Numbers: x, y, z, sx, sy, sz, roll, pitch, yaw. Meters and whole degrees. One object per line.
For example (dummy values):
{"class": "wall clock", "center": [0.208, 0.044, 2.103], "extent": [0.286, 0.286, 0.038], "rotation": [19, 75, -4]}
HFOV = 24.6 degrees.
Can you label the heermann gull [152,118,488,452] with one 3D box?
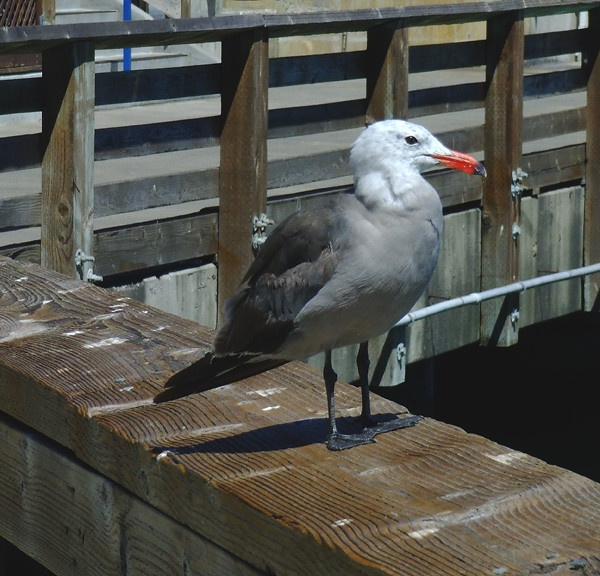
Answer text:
{"class": "heermann gull", "center": [0.119, -0.142, 4.162], "extent": [0.723, 0.727, 0.491], "rotation": [0, 4, 3]}
